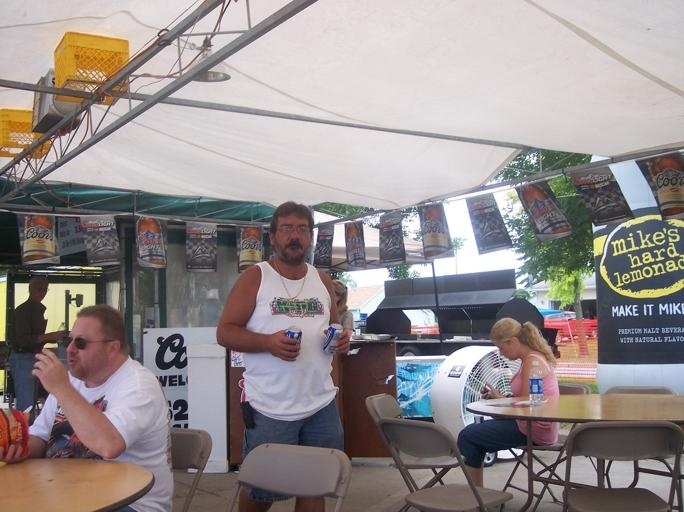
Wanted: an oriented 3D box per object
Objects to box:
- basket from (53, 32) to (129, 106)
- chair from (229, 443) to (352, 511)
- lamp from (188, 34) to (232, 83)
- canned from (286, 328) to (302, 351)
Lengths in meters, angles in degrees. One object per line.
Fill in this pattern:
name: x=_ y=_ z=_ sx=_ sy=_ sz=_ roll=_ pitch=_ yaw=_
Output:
basket: x=-2.552 y=-1.851 z=5.688 sx=0.618 sy=0.374 sz=0.597 roll=2 pitch=-12 yaw=-26
chair: x=-0.244 y=1.080 z=2.816 sx=0.652 sy=0.297 sz=0.146 roll=0 pitch=-7 yaw=31
lamp: x=-1.223 y=-1.792 z=5.329 sx=0.427 sy=0.424 sz=0.433 roll=-2 pitch=-4 yaw=1
canned: x=-0.300 y=0.499 z=3.305 sx=0.117 sy=0.166 sz=0.104 roll=0 pitch=-9 yaw=-8
